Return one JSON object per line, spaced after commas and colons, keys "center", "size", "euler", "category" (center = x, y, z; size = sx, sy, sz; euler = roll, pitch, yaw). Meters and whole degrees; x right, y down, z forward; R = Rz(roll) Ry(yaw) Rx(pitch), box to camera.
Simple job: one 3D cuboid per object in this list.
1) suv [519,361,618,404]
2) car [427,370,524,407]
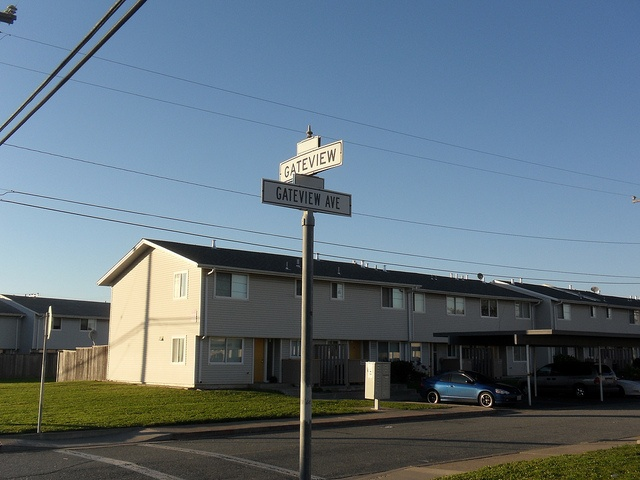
{"center": [13.265, 7.552, 34.985], "size": [4.764, 1.673, 2.359], "euler": [-6, -12, 43], "category": "suv"}
{"center": [6.679, 6.720, 29.025], "size": [3.777, 1.237, 1.719], "euler": [-8, -11, 31], "category": "car"}
